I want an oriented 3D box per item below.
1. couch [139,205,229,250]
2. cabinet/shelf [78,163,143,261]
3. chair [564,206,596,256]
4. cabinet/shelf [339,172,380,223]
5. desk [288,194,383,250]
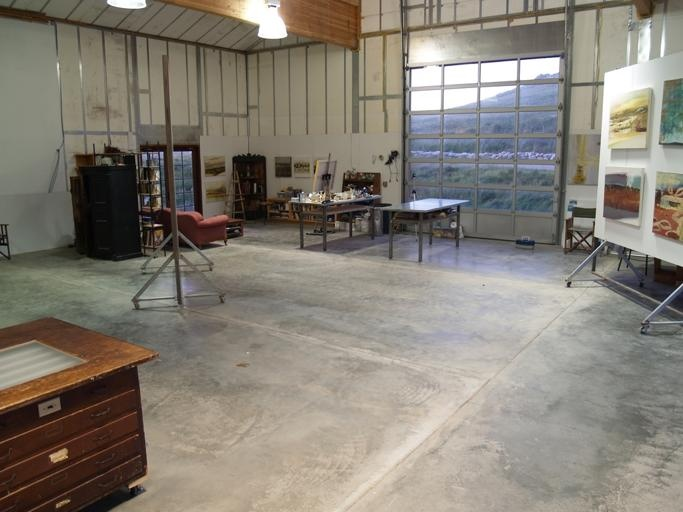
[{"bbox_3d":[-3.717,-0.727,11.791,1.843,0.794,0.970,5,12,29],"label":"couch"},{"bbox_3d":[-4.980,-0.976,10.395,0.977,2.104,1.144,-4,11,-41],"label":"cabinet/shelf"},{"bbox_3d":[5.357,-0.546,10.860,0.683,0.936,0.710,12,-1,28],"label":"chair"},{"bbox_3d":[0.603,-1.980,14.067,0.788,0.957,0.417,-4,11,-40],"label":"cabinet/shelf"},{"bbox_3d":[-0.834,-0.747,12.919,2.749,1.512,3.548,4,6,41],"label":"desk"}]
